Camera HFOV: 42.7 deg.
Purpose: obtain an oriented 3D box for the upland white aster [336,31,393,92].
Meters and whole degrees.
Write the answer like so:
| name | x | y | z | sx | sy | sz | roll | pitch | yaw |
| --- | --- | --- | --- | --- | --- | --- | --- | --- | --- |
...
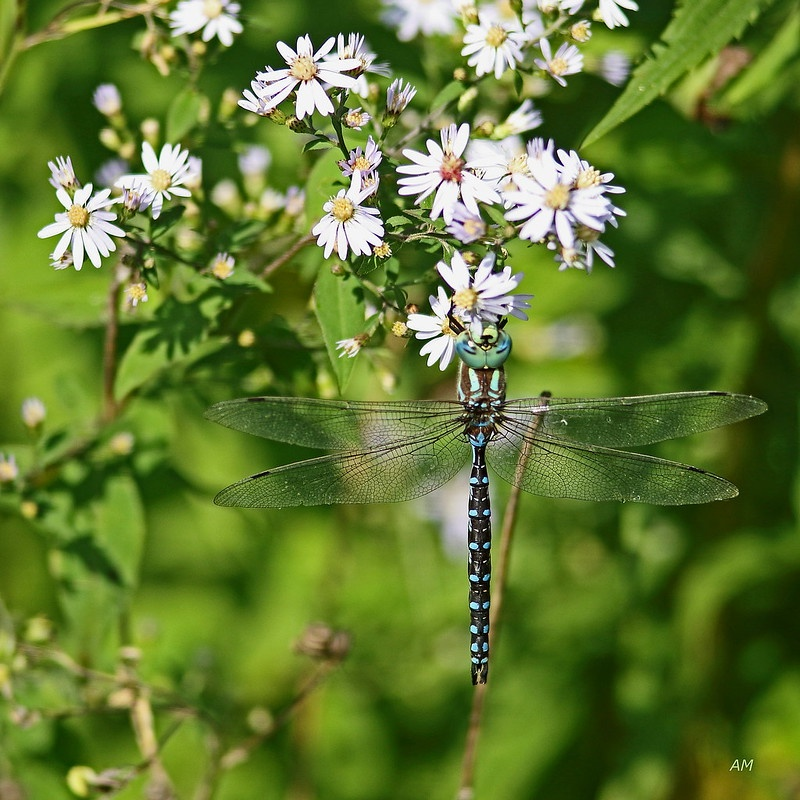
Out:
| name | x | y | z | sx | sy | sz | roll | pitch | yaw |
| --- | --- | --- | --- | --- | --- | --- | --- | --- | --- |
| upland white aster | -0.077 | -0.763 | 2.293 | 0.113 | 0.179 | 0.088 | -12 | 38 | -9 |

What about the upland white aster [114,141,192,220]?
| name | x | y | z | sx | sy | sz | roll | pitch | yaw |
| --- | --- | --- | --- | --- | --- | --- | --- | --- | --- |
| upland white aster | -0.550 | -0.503 | 2.340 | 0.194 | 0.048 | 0.185 | -7 | 68 | 1 |

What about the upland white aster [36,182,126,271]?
| name | x | y | z | sx | sy | sz | roll | pitch | yaw |
| --- | --- | --- | --- | --- | --- | --- | --- | --- | --- |
| upland white aster | -0.704 | -0.383 | 2.334 | 0.201 | 0.065 | 0.188 | 2 | 94 | 3 |

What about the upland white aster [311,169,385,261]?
| name | x | y | z | sx | sy | sz | roll | pitch | yaw |
| --- | --- | --- | --- | --- | --- | --- | --- | --- | --- |
| upland white aster | -0.089 | -0.385 | 2.220 | 0.175 | 0.063 | 0.167 | -27 | 96 | 4 |

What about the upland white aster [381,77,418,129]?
| name | x | y | z | sx | sy | sz | roll | pitch | yaw |
| --- | --- | --- | --- | --- | --- | --- | --- | --- | --- |
| upland white aster | -0.012 | -0.657 | 2.284 | 0.074 | 0.057 | 0.132 | 16 | 107 | 22 |

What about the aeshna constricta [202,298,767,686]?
| name | x | y | z | sx | sy | sz | roll | pitch | yaw |
| --- | --- | --- | --- | --- | --- | --- | --- | --- | --- |
| aeshna constricta | 0.206 | 0.176 | 2.588 | 1.380 | 0.591 | 0.926 | 0 | 33 | 3 |
